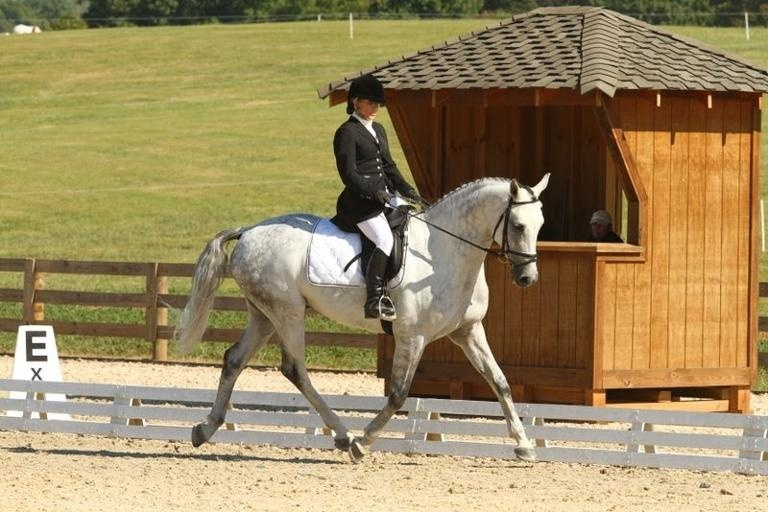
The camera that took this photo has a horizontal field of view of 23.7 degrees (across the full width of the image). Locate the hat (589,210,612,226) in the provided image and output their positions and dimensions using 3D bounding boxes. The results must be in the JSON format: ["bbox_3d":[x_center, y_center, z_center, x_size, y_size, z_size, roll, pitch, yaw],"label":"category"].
[{"bbox_3d":[5.087,-0.917,42.959,0.496,0.304,0.522,1,5,8],"label":"hat"}]

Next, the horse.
[{"bbox_3d":[-0.677,1.262,41.478,8.349,6.758,2.817,1,-2,8],"label":"horse"}]

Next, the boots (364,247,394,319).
[{"bbox_3d":[-0.178,0.620,40.667,0.534,1.647,0.569,-1,-1,1],"label":"boots"}]
